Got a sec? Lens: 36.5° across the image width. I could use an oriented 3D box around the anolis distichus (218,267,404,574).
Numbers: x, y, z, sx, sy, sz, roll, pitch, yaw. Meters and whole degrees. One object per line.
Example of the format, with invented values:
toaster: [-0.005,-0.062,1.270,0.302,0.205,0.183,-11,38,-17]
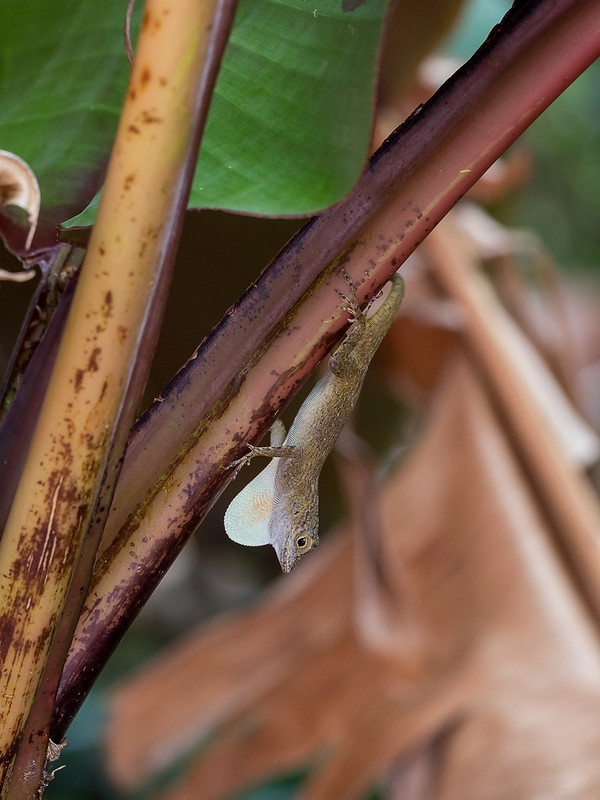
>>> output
anolis distichus: [-0.034,0.023,0.595,0.098,0.203,0.045,20,18,-48]
